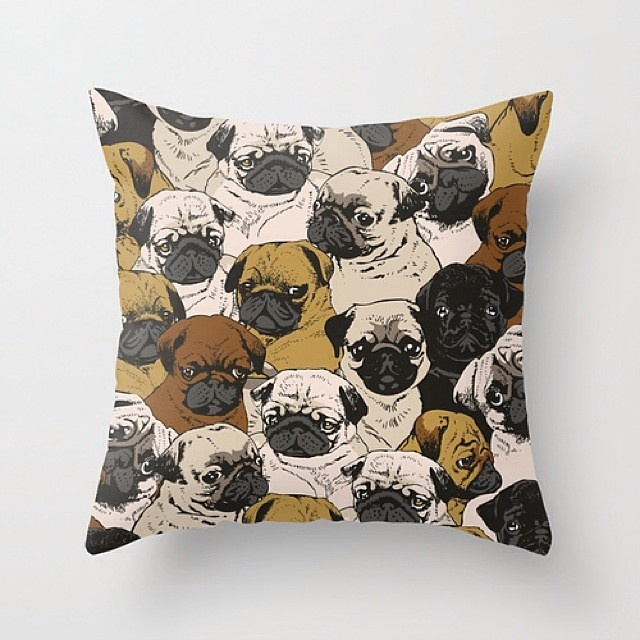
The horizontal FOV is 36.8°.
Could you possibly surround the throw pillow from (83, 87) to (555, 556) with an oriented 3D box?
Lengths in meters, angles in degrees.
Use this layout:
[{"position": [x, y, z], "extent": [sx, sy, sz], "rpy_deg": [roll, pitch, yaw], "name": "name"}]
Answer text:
[{"position": [0.020, 0.025, 1.457], "extent": [1.027, 0.781, 0.244], "rpy_deg": [0, -1, 2], "name": "throw pillow"}]
